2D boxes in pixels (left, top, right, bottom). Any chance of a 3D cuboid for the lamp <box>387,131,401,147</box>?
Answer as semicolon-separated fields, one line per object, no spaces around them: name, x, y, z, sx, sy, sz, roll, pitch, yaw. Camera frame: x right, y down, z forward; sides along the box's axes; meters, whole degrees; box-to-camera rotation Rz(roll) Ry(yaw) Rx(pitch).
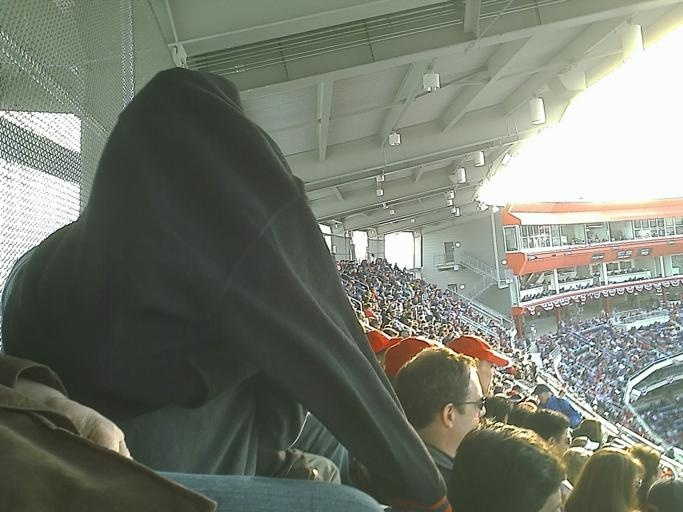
lamp;0.862;-1.950;9.669;0.211;0.313;0.110;3;1;6

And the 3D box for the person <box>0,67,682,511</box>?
person;-0.139;0.106;1.748;1.726;1.267;1.013;9;14;30

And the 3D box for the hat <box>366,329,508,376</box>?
hat;0.696;0.596;4.077;0.792;0.291;0.513;-3;-1;-17

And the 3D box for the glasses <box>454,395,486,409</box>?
glasses;0.654;0.752;3.015;0.146;0.045;0.145;-10;-12;6
